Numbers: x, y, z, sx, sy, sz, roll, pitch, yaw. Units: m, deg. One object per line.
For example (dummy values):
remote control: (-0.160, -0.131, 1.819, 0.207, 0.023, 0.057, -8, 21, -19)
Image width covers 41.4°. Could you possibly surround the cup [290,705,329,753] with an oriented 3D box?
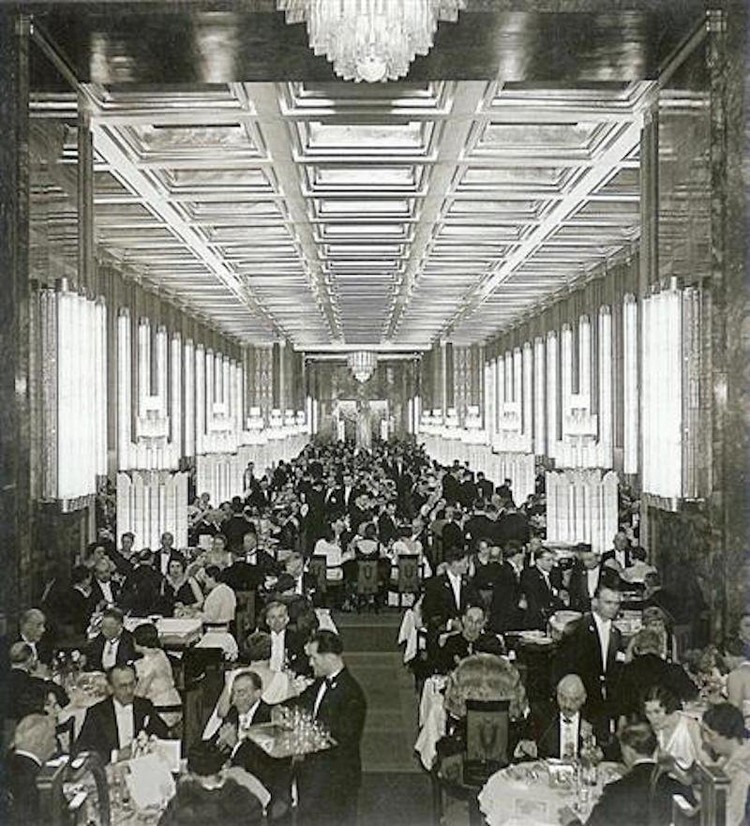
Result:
cup: (-0.347, 1.677, 5.226, 0.186, 0.257, 0.122, 9, -16, -35)
